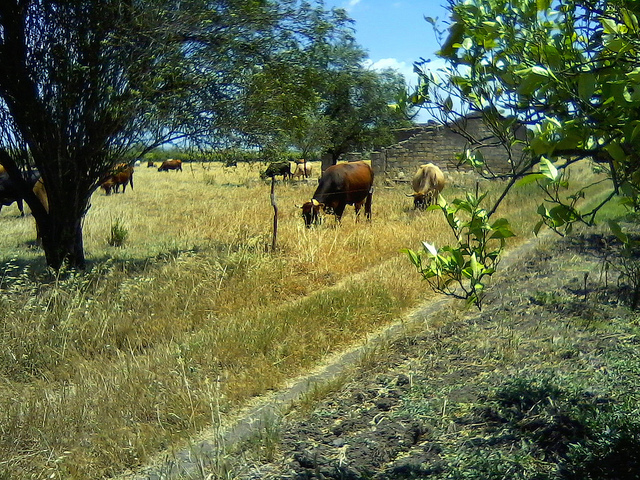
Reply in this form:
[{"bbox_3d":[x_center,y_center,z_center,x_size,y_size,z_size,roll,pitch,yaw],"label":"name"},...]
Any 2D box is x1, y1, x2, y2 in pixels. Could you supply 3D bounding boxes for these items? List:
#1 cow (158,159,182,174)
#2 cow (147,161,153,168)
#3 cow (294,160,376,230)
[{"bbox_3d":[-12.796,-6.279,47.529,2.124,0.899,2.255,-11,16,-40],"label":"cow"},{"bbox_3d":[-18.750,-8.314,61.420,0.485,0.867,1.537,-2,7,-26],"label":"cow"},{"bbox_3d":[0.546,-1.140,14.941,0.908,1.760,3.190,3,16,38],"label":"cow"}]
